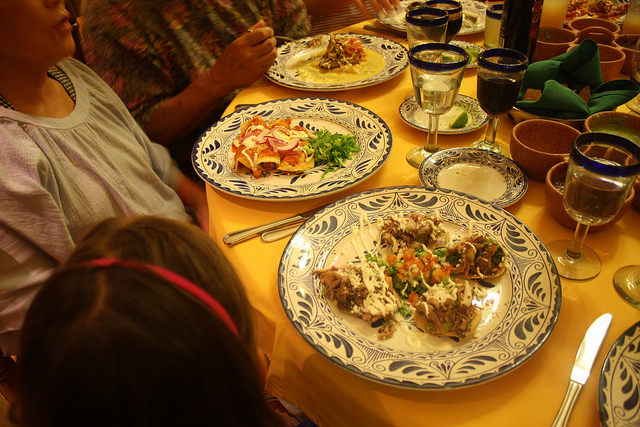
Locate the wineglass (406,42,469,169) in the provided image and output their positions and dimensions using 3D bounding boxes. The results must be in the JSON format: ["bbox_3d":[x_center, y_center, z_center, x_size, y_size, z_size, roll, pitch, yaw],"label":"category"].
[{"bbox_3d":[0.440,-0.381,1.933,0.208,0.547,0.216,-11,24,-20],"label":"wineglass"}]

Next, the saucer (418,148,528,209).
[{"bbox_3d":[0.524,-0.199,1.906,0.474,0.205,0.377,-4,20,-1],"label":"saucer"}]

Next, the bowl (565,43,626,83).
[{"bbox_3d":[1.226,-0.654,2.179,0.210,0.135,0.217,-7,36,5],"label":"bowl"}]

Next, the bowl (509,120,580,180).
[{"bbox_3d":[0.795,-0.249,1.763,0.189,0.120,0.261,1,39,9],"label":"bowl"}]

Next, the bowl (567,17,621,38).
[{"bbox_3d":[1.355,-0.922,2.414,0.178,0.066,0.182,-2,37,2],"label":"bowl"}]

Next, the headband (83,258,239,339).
[{"bbox_3d":[-0.367,0.191,1.187,0.360,0.203,0.068,15,61,19],"label":"headband"}]

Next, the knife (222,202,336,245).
[{"bbox_3d":[-0.141,0.043,1.697,0.342,0.019,0.047,-19,46,-20],"label":"knife"}]

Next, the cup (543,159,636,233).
[{"bbox_3d":[0.852,-0.058,1.632,0.251,0.156,0.254,-2,47,2],"label":"cup"}]
